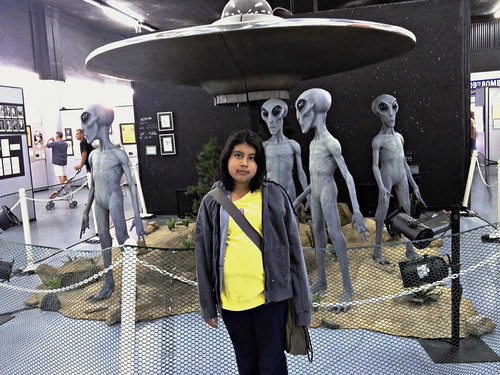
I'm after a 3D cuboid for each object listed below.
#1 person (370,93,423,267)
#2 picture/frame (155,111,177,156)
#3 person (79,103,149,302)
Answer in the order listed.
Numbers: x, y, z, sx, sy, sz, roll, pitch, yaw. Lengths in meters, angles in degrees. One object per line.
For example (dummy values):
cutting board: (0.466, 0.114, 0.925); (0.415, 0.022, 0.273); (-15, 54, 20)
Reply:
person: (2.110, -0.284, 5.318); (0.782, 2.319, 0.498); (-7, 8, -23)
picture/frame: (-2.175, -1.479, 9.299); (0.473, 1.143, 0.115); (-2, 7, 15)
person: (-1.824, -0.174, 4.668); (1.056, 1.933, 0.489); (2, 10, 41)
